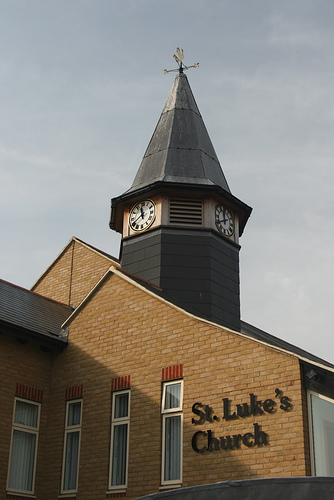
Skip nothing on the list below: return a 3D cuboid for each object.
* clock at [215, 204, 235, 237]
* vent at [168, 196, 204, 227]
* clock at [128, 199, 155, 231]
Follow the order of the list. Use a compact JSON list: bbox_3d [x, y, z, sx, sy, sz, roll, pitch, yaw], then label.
[{"bbox_3d":[1.750,-0.878,23.418,0.095,0.935,0.987,-7,-5,37],"label":"clock"},{"bbox_3d":[0.532,-1.100,22.742,1.039,1.110,0.155,5,-42,-3],"label":"vent"},{"bbox_3d":[-0.759,-1.055,23.301,1.086,1.031,0.095,-4,-17,28],"label":"clock"}]
